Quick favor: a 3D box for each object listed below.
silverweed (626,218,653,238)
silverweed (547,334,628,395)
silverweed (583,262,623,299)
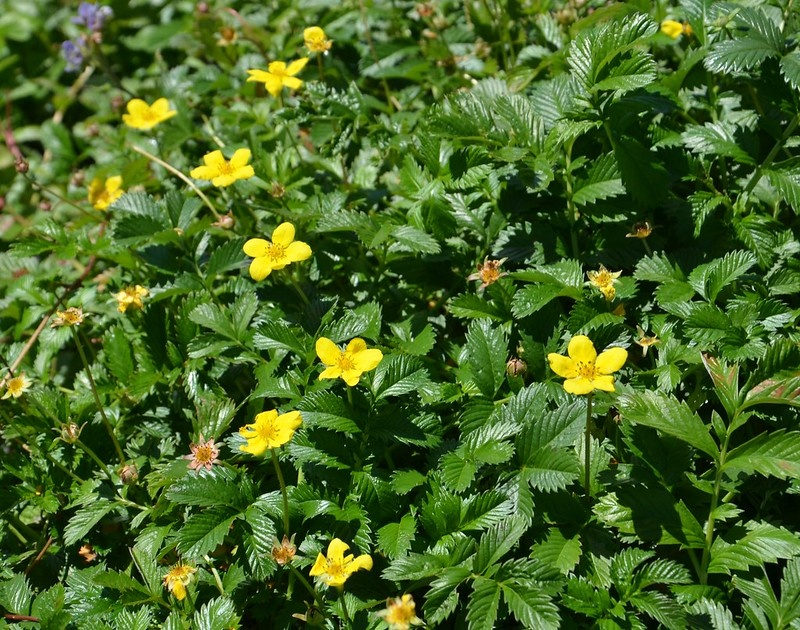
[{"bbox_3d":[0.880,-0.309,3.143,0.070,0.038,0.065,-4,23,7],"label":"silverweed"},{"bbox_3d":[0.559,0.156,2.585,0.192,0.180,0.188,3,58,34],"label":"silverweed"},{"bbox_3d":[0.714,-0.109,2.981,0.082,0.111,0.097,-48,46,-11],"label":"silverweed"}]
